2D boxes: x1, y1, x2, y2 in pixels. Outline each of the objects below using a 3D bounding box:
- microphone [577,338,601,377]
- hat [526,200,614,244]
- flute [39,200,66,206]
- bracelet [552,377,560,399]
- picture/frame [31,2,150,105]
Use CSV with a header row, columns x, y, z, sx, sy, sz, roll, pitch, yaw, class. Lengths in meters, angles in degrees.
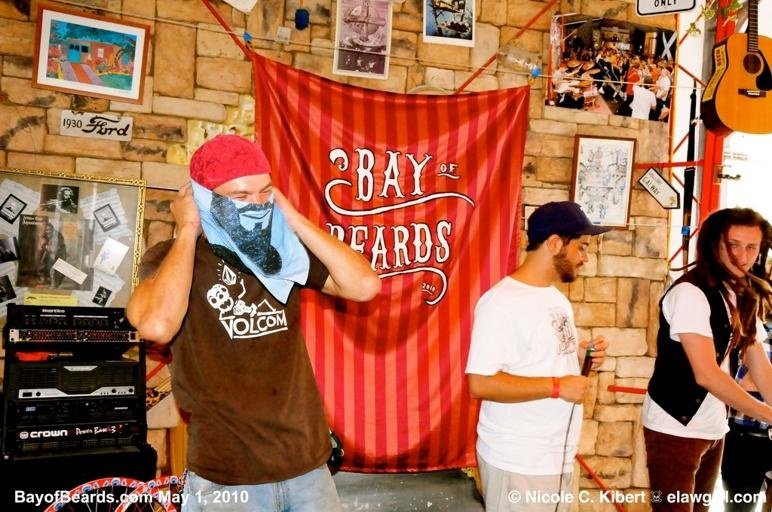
x,y,z,sx,sy,sz,roll,pitch,yaw,class
1.306,0.636,5.573,0.132,0.259,0.067,24,3,18,microphone
1.253,-0.258,5.715,0.369,0.309,0.543,-6,-6,-45,hat
-2.422,-0.399,6.313,0.154,0.041,0.007,4,1,-11,flute
1.047,0.791,5.352,0.047,0.129,0.029,3,1,10,bracelet
-2.195,-1.485,6.344,0.616,0.579,0.048,7,2,-15,picture/frame
